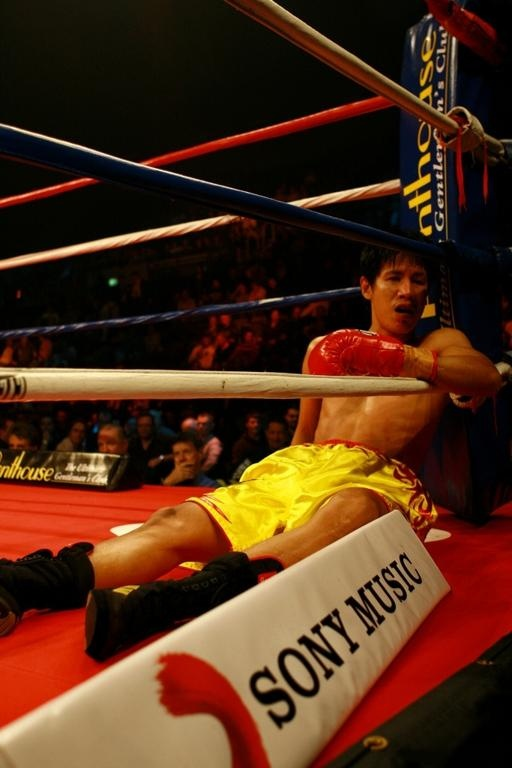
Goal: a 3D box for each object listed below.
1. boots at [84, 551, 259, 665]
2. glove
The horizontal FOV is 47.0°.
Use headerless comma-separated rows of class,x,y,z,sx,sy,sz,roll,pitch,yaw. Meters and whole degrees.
boots,-0.119,0.273,0.802,0.125,0.082,0.264,-38,-22,11
glove,0.183,-0.041,1.120,0.143,0.059,0.105,12,-5,-31
